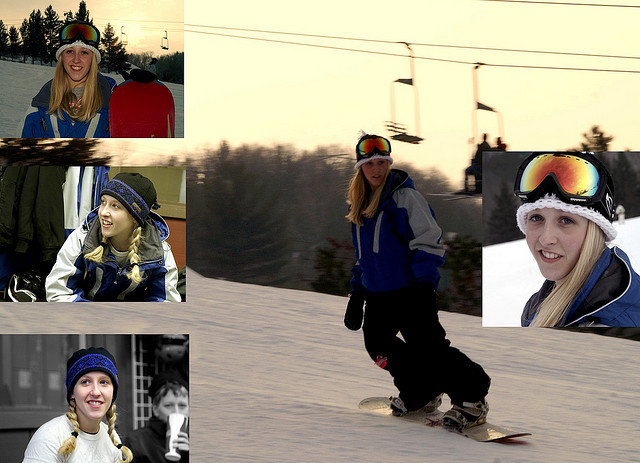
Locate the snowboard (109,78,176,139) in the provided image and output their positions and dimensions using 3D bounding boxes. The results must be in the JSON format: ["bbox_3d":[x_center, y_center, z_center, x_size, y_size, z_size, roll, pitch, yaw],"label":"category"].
[{"bbox_3d":[-1.578,-1.058,7.368,0.641,0.692,0.373,-7,28,-21],"label":"snowboard"}]

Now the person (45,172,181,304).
[{"bbox_3d":[-1.768,0.152,7.127,1.179,1.297,0.820,8,19,0],"label":"person"}]
